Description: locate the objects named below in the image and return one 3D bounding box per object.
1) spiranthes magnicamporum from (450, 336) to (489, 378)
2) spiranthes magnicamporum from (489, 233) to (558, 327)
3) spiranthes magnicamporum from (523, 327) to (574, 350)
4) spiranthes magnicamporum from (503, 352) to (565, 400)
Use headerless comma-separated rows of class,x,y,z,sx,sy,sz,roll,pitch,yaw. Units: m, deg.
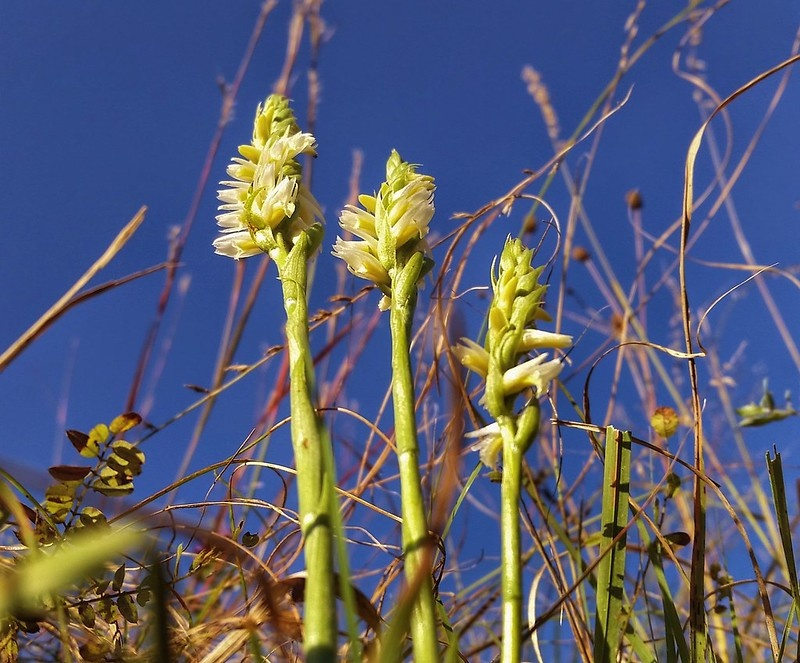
spiranthes magnicamporum,0.168,0.062,2.860,0.116,0.036,0.036,45,-13,-28
spiranthes magnicamporum,0.264,-0.095,2.660,0.121,0.240,0.156,3,-18,3
spiranthes magnicamporum,0.331,0.020,2.726,0.081,0.030,0.038,5,-68,-8
spiranthes magnicamporum,0.322,0.106,2.856,0.136,0.085,0.092,-15,-35,2
